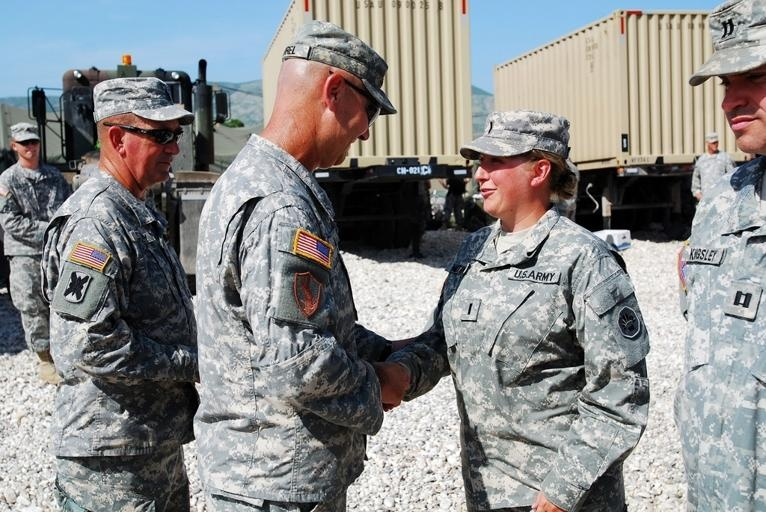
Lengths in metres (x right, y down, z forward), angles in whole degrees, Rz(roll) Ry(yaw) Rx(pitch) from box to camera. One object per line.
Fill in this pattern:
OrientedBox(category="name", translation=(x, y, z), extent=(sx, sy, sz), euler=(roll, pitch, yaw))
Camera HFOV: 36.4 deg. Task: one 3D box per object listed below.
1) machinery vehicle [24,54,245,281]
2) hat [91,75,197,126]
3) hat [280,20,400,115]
OrientedBox(category="machinery vehicle", translation=(-3.358, -1.346, 14.701), extent=(2.095, 2.391, 3.572), euler=(-1, 8, -20))
OrientedBox(category="hat", translation=(-1.605, -1.023, 7.678), extent=(0.468, 0.231, 0.346), euler=(-2, 5, -18))
OrientedBox(category="hat", translation=(-0.235, -1.079, 6.955), extent=(0.640, 0.291, 0.437), euler=(23, 5, -23))
